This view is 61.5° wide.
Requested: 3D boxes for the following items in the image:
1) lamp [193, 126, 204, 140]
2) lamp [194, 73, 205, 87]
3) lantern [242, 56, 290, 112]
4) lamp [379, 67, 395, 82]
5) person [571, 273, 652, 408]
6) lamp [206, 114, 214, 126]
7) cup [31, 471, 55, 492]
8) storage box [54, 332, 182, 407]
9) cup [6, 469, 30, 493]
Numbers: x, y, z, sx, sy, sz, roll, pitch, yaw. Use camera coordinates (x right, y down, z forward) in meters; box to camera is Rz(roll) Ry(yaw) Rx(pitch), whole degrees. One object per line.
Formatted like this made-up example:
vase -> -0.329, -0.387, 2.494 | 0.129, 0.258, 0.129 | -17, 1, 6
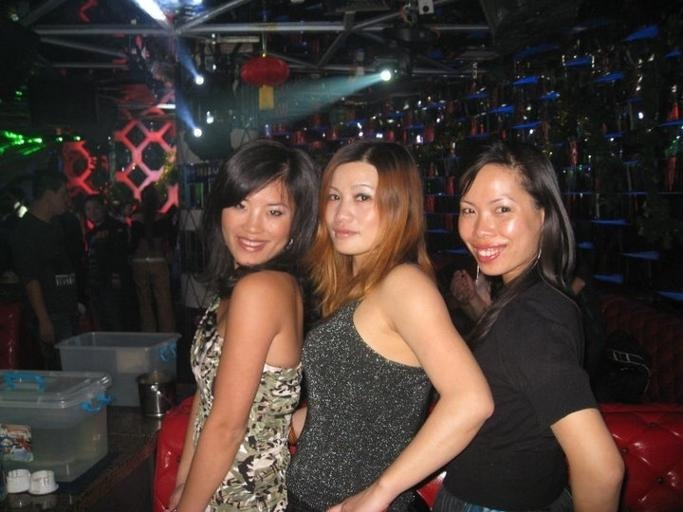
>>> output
lamp -> -1.862, -1.583, 7.441 | 0.120, 0.128, 0.041 | 0, -5, 0
lamp -> -1.833, -2.250, 7.390 | 0.126, 0.132, 0.132 | 7, -9, 2
lantern -> -0.846, -1.893, 6.660 | 0.622, 0.652, 0.625 | -4, 8, -10
lamp -> 0.610, -2.384, 7.594 | 0.178, 0.188, 0.043 | 13, 20, 25
person -> 1.703, 0.537, 3.568 | 0.331, 0.905, 0.531 | -4, -6, -4
lamp -> -1.701, -1.747, 7.428 | 0.083, 0.126, 0.039 | -3, 9, -18
cup -> -1.352, 1.016, 2.597 | 0.123, 0.102, 0.042 | -1, 3, -4
storage box -> -1.269, 0.600, 3.287 | 0.580, 0.315, 0.420 | 0, 0, 5
cup -> -1.462, 1.011, 2.593 | 0.101, 0.103, 0.054 | -2, 3, -18
